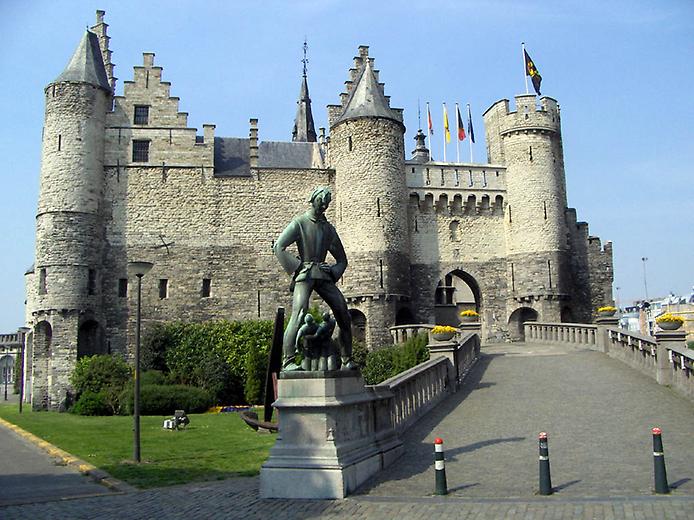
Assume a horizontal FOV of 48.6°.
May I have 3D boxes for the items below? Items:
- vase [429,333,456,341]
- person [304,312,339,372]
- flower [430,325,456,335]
[{"bbox_3d":[3.177,2.543,25.553,0.744,0.292,0.592,-4,0,3],"label":"vase"},{"bbox_3d":[-0.583,1.623,15.352,0.900,1.128,0.827,3,-12,-43],"label":"person"},{"bbox_3d":[3.196,2.340,25.626,0.558,0.280,0.566,-7,-11,38],"label":"flower"}]
